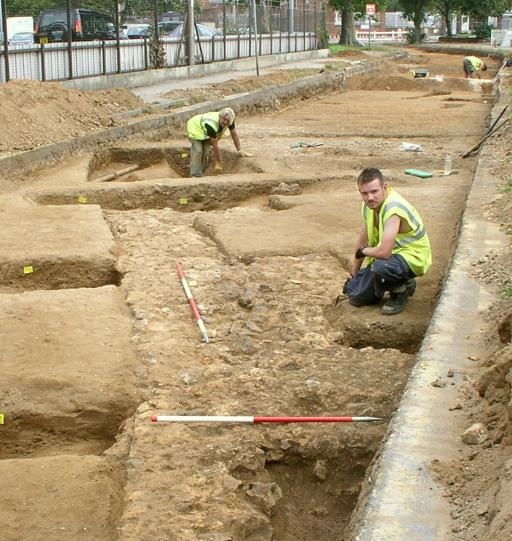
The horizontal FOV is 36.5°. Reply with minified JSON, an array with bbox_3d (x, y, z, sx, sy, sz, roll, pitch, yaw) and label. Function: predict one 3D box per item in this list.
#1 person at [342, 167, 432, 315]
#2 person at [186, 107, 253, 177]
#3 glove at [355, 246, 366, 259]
[{"bbox_3d":[0.931,-0.204,5.598,0.646,1.062,0.599,-1,10,9],"label":"person"},{"bbox_3d":[-0.552,-1.727,10.373,0.705,0.884,1.187,-3,8,-4],"label":"person"},{"bbox_3d":[0.744,-0.128,5.614,0.069,0.064,0.080,-7,0,-8],"label":"glove"}]
